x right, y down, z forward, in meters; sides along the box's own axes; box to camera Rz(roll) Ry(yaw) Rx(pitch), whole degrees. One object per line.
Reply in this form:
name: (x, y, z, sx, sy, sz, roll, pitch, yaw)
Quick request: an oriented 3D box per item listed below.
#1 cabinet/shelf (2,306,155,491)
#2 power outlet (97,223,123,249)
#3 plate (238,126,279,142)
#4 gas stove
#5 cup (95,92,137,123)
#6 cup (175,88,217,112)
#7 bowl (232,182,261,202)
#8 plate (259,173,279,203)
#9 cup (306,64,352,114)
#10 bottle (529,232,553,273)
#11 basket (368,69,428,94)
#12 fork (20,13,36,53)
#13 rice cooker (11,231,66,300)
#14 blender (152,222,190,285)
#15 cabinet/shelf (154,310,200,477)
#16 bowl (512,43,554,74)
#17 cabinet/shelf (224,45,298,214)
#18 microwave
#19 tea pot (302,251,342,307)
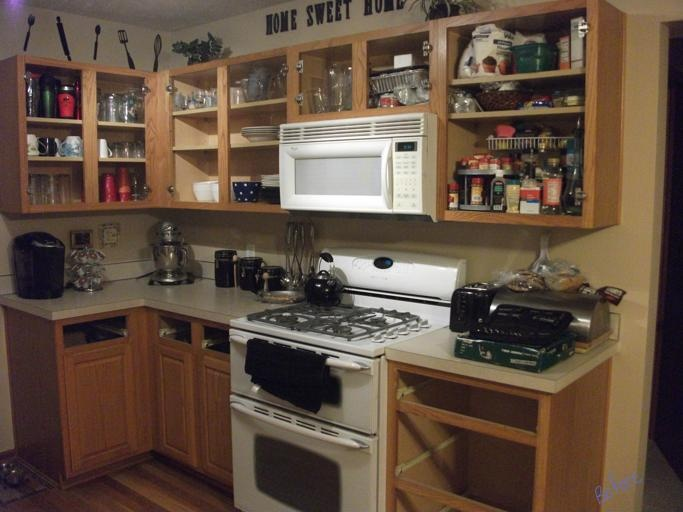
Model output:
cabinet/shelf: (-1.593, 0.776, 3.514, 0.727, 1.087, 0.651, 4, 7, 40)
power outlet: (-1.607, -0.144, 3.932, 0.155, 0.172, 0.017, -9, 13, -40)
plate: (-0.481, -0.721, 3.308, 0.286, 0.090, 0.088, 7, 13, 40)
gas stove: (0.014, 0.333, 2.746, 0.528, 0.070, 0.351, 5, 10, 35)
cup: (-1.408, -0.945, 3.573, 0.239, 0.212, 0.143, 0, 9, -12)
cup: (-0.900, -0.990, 3.530, 0.351, 0.132, 0.075, 6, 12, 37)
bowl: (-0.560, -0.382, 3.356, 0.143, 0.085, 0.139, -2, 0, 0)
plate: (-0.394, -0.406, 3.288, 0.165, 0.115, 0.160, 1, 4, 13)
cup: (-0.055, -0.880, 2.970, 0.194, 0.252, 0.148, 11, 18, 40)
bottle: (0.954, -0.019, 2.693, 0.094, 0.177, 0.166, 2, 10, 18)
basket: (0.300, -0.855, 2.810, 0.198, 0.061, 0.137, -1, 8, 35)
fork: (-1.925, -1.391, 3.471, 0.050, 0.262, 0.037, 12, -2, 3)
rice cooker: (-1.809, 0.057, 3.381, 0.296, 0.388, 0.175, -5, 10, -19)
blender: (-1.152, -0.015, 3.788, 0.241, 0.401, 0.180, -4, 10, -16)
cabinet/shelf: (-0.937, 0.776, 3.303, 0.172, 0.871, 0.385, -11, 13, -43)
bowl: (0.845, -0.879, 2.483, 0.154, 0.093, 0.128, 3, 10, 36)
cabinet/shelf: (-0.454, -0.724, 3.364, 0.401, 0.953, 0.338, 13, 17, 42)
microwave: (0.037, -0.465, 2.867, 0.828, 0.465, 0.169, 6, 12, 38)
tea pot: (-0.089, 0.140, 3.110, 0.167, 0.304, 0.165, 0, 12, 0)
